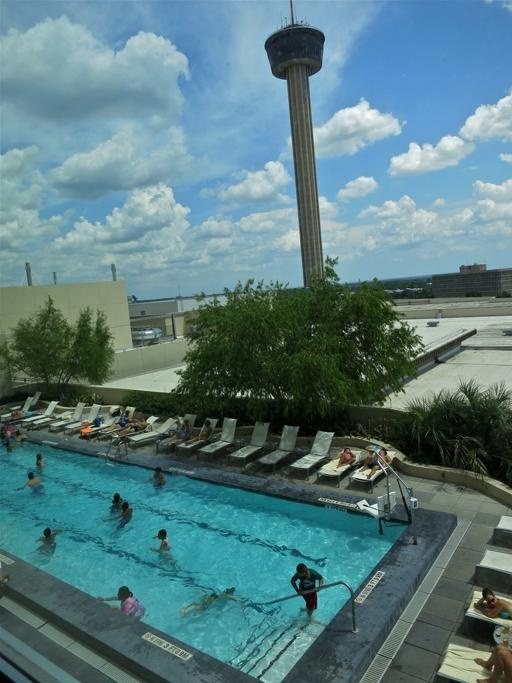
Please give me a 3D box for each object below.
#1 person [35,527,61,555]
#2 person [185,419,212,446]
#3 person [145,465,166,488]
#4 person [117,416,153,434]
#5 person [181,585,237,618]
[{"bbox_3d":[-4.425,4.302,9.763,0.468,0.943,0.317,1,16,-14],"label":"person"},{"bbox_3d":[-1.806,3.015,14.961,0.382,0.506,1.189,5,13,35],"label":"person"},{"bbox_3d":[-2.792,3.799,12.716,0.450,0.330,0.756,-2,44,2],"label":"person"},{"bbox_3d":[-4.454,3.190,16.976,0.602,0.462,1.367,4,4,36],"label":"person"},{"bbox_3d":[-0.762,4.157,7.268,0.882,0.259,0.267,-19,-27,7],"label":"person"}]
